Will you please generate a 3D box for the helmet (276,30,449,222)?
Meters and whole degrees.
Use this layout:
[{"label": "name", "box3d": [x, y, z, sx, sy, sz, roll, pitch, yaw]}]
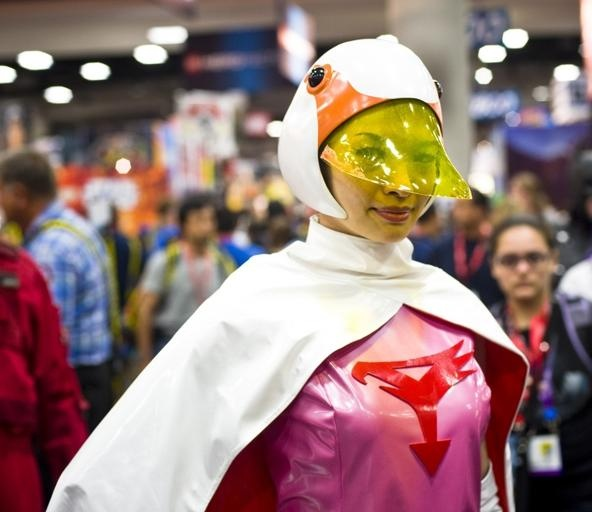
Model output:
[{"label": "helmet", "box3d": [0.143, -0.396, 3.471, 0.421, 0.530, 0.561, 1, -4, -31]}]
